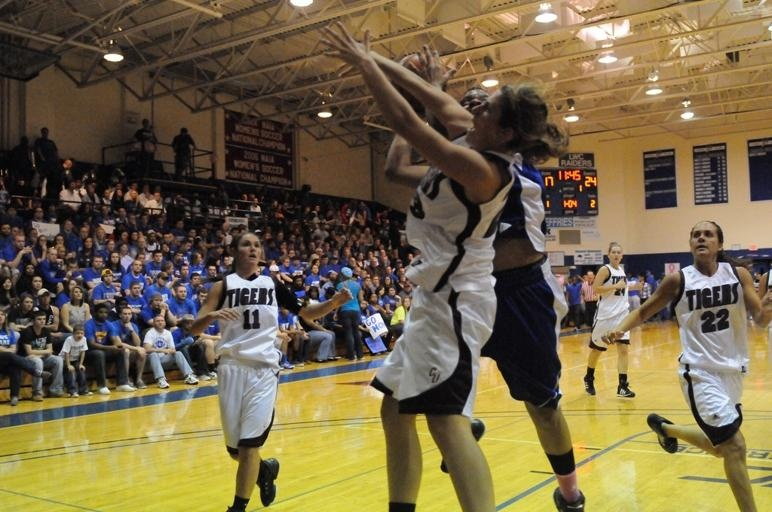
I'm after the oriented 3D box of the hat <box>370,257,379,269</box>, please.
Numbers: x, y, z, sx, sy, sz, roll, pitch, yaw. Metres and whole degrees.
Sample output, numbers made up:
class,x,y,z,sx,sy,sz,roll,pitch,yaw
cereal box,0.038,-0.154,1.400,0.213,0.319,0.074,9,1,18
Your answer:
class,x,y,z,sx,sy,sz,roll,pitch,yaw
hat,-0.328,0.165,18.679,0.225,0.316,0.242,2,-26,-5

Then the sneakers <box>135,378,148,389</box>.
class,x,y,z,sx,sy,sz,roll,pitch,yaw
sneakers,-4.143,2.186,11.186,0.219,0.094,0.101,0,-5,17

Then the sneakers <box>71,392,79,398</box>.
class,x,y,z,sx,sy,sz,roll,pitch,yaw
sneakers,-4.920,2.217,10.456,0.056,0.064,0.150,2,-17,-11

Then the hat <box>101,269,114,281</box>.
class,x,y,z,sx,sy,sz,roll,pitch,yaw
hat,-4.931,0.327,11.672,0.181,0.198,0.241,-3,-3,-32

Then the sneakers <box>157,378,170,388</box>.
class,x,y,z,sx,sy,sz,roll,pitch,yaw
sneakers,-3.752,2.170,11.156,0.112,0.116,0.254,2,-11,-33

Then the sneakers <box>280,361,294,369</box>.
class,x,y,z,sx,sy,sz,roll,pitch,yaw
sneakers,-1.943,2.165,12.928,0.264,0.117,0.096,-1,-4,4

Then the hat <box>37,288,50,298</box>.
class,x,y,z,sx,sy,sz,roll,pitch,yaw
hat,-5.508,0.602,10.588,0.123,0.088,0.195,-15,-5,-26

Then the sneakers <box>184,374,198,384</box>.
class,x,y,z,sx,sy,sz,roll,pitch,yaw
sneakers,-3.378,2.153,11.431,0.270,0.126,0.109,-8,-9,39

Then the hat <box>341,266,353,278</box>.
class,x,y,z,sx,sy,sz,roll,pitch,yaw
hat,-0.856,0.352,14.347,0.191,0.221,0.259,-1,38,-35

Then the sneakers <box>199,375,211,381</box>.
class,x,y,z,sx,sy,sz,roll,pitch,yaw
sneakers,-3.189,2.167,11.673,0.164,0.069,0.079,-5,-6,29

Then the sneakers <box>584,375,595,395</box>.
class,x,y,z,sx,sy,sz,roll,pitch,yaw
sneakers,3.033,1.920,9.787,0.140,0.268,0.364,-3,-3,17

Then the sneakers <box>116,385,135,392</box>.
class,x,y,z,sx,sy,sz,roll,pitch,yaw
sneakers,-4.297,2.188,10.865,0.294,0.120,0.109,0,-9,9
